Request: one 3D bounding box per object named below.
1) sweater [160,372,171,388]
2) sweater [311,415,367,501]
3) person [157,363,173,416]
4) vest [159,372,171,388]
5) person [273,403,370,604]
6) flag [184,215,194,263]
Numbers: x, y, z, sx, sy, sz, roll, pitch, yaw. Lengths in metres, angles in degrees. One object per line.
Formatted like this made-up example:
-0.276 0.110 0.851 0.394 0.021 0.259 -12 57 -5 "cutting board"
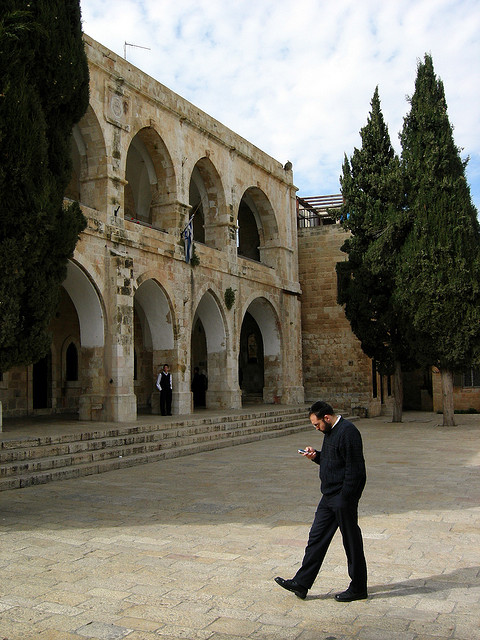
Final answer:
-1.904 1.610 15.940 0.359 0.641 0.239 5 -8 -43 "sweater"
0.584 0.839 3.738 0.263 0.496 0.208 2 6 45 "sweater"
-1.942 1.815 16.163 0.389 1.396 0.747 -1 -7 -8 "person"
-1.911 1.594 15.903 0.339 0.613 0.244 5 -8 -41 "vest"
0.526 1.092 3.719 0.465 1.170 0.335 -3 -6 15 "person"
-1.435 -2.249 17.397 0.240 1.263 0.473 -1 -6 -7 "flag"
